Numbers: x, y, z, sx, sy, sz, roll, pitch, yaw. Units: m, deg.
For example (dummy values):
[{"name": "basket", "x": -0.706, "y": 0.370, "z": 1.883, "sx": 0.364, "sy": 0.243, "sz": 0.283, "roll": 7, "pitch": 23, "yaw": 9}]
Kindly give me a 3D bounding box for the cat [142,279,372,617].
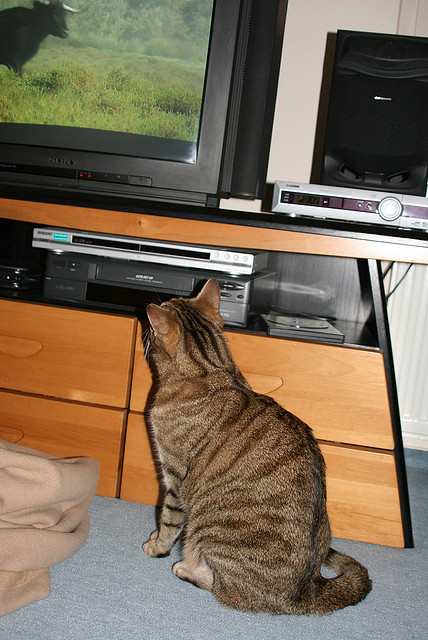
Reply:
[{"name": "cat", "x": 0.074, "y": 0.242, "z": 1.033, "sx": 0.503, "sy": 0.609, "sz": 0.267, "roll": 9, "pitch": 7, "yaw": 27}]
